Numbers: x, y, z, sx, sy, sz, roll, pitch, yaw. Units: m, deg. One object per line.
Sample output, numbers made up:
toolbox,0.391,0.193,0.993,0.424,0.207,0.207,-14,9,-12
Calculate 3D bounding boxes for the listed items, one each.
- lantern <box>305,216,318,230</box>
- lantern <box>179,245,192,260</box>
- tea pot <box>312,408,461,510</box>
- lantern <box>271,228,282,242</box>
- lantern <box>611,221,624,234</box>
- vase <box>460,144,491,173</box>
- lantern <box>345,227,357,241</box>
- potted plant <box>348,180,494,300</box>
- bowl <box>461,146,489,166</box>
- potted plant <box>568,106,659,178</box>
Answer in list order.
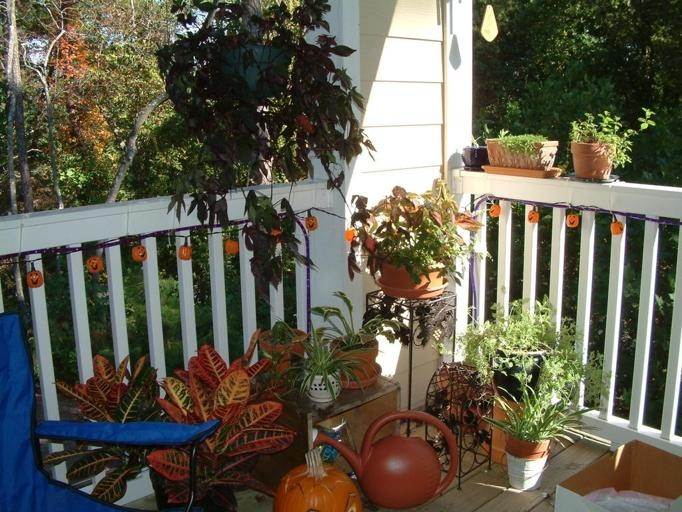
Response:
lantern,-0.136,-0.147,2.588,0.050,0.065,0.106,-2,5,-6
lantern,-0.625,-0.001,2.356,0.050,0.058,0.076,3,-19,-7
tea pot,0.104,0.844,2.438,0.671,0.520,0.293,4,-10,-9
lantern,-0.241,-0.077,2.170,0.030,0.057,0.026,2,-12,3
lantern,1.251,-0.126,2.644,0.049,0.069,0.145,1,6,25
vase,0.717,-0.527,3.158,0.109,0.108,0.132,-1,3,0
lantern,0.044,-0.095,2.658,0.046,0.068,0.051,4,1,-1
potted plant,0.335,-0.066,2.616,0.549,0.495,0.453,-2,13,-5
bowl,0.728,-0.521,3.136,0.100,0.091,0.115,-2,5,-21
potted plant,1.254,-0.527,2.736,0.338,0.378,0.250,10,5,38
